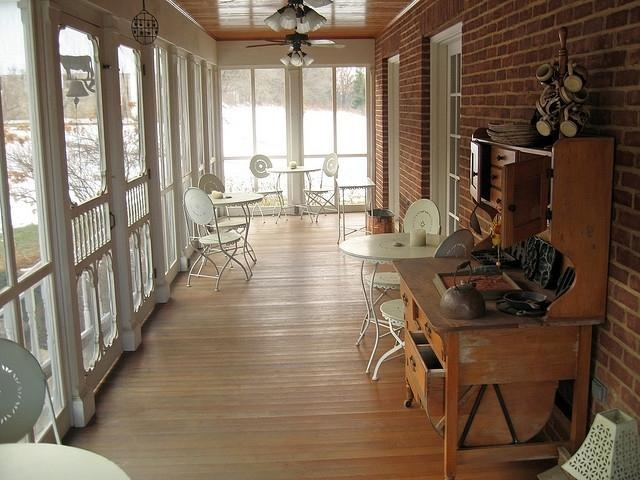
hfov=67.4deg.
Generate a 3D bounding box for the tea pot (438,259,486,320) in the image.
[{"bbox_3d":[0.746,0.249,2.512,0.241,0.273,0.240,-1,6,0],"label":"tea pot"}]

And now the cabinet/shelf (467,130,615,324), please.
[{"bbox_3d":[1.168,-0.131,2.625,0.525,0.875,0.755,-1,16,4],"label":"cabinet/shelf"}]

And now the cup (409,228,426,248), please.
[{"bbox_3d":[0.828,-0.014,4.082,0.119,0.136,0.137,-1,4,0],"label":"cup"}]

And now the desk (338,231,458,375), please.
[{"bbox_3d":[0.595,0.470,4.376,1.029,0.840,1.106,-1,8,-3],"label":"desk"}]

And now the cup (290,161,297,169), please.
[{"bbox_3d":[-0.506,-1.398,8.961,0.133,0.134,0.136,0,17,0],"label":"cup"}]

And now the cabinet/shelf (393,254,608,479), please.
[{"bbox_3d":[0.909,0.591,2.997,0.967,1.199,1.734,-1,9,-1],"label":"cabinet/shelf"}]
